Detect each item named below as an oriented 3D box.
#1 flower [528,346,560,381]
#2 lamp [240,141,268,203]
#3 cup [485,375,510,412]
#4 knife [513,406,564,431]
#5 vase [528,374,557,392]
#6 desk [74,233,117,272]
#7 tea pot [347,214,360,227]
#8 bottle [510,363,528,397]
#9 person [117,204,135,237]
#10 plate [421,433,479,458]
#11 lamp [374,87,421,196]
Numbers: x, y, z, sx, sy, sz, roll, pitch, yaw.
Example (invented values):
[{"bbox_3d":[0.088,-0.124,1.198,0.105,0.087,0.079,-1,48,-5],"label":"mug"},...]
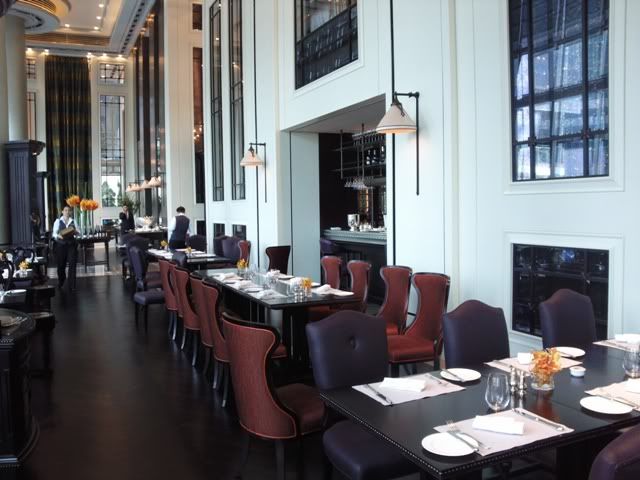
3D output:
[{"bbox_3d":[1.342,0.747,3.017,0.167,0.216,0.193,0,-3,22],"label":"flower"},{"bbox_3d":[-1.292,-1.374,10.053,0.502,1.225,1.132,-2,8,-6],"label":"lamp"},{"bbox_3d":[0.994,0.861,2.801,0.120,0.202,0.100,2,9,26],"label":"cup"},{"bbox_3d":[1.176,0.959,2.727,0.062,0.022,0.409,-11,3,-14],"label":"knife"},{"bbox_3d":[1.366,0.882,3.055,0.095,0.083,0.103,-1,-2,19],"label":"vase"},{"bbox_3d":[-6.542,0.398,14.512,0.994,1.207,0.961,-1,1,-37],"label":"desk"},{"bbox_3d":[0.619,-0.365,9.226,0.176,0.256,0.221,7,11,41],"label":"tea pot"},{"bbox_3d":[1.221,0.870,3.063,0.058,0.177,0.135,-4,4,-35],"label":"bottle"},{"bbox_3d":[-5.544,-0.371,14.506,0.350,1.267,0.313,-5,2,-29],"label":"person"},{"bbox_3d":[0.646,1.027,2.493,0.275,0.036,0.161,-1,9,2],"label":"plate"},{"bbox_3d":[0.990,-1.204,6.139,0.455,1.294,0.852,1,8,18],"label":"lamp"}]
